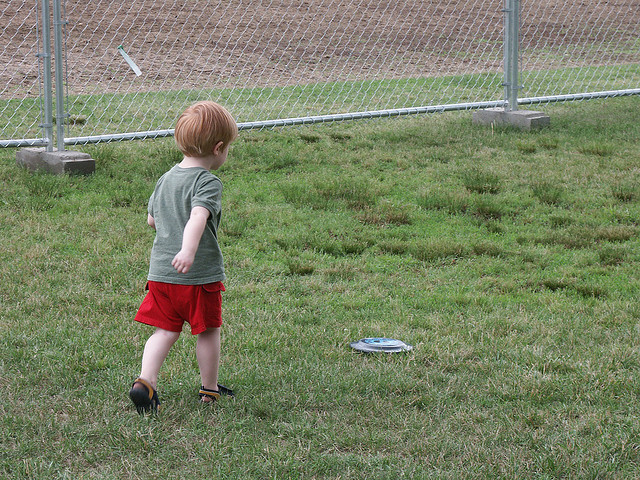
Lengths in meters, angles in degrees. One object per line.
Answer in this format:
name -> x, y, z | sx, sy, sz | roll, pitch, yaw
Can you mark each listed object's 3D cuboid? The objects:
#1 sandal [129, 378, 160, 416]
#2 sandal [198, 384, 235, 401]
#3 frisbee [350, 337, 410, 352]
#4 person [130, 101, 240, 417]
sandal -> -1.384, 1.247, 9.512 | 0.120, 0.361, 0.154 | -8, 34, 19
sandal -> -0.844, 1.241, 9.710 | 0.313, 0.145, 0.116 | -4, 9, -32
frisbee -> 0.512, 0.894, 10.270 | 0.514, 0.068, 0.212 | 3, 12, 4
person -> -1.120, 0.111, 9.706 | 0.909, 2.442, 0.696 | -2, 11, -17
